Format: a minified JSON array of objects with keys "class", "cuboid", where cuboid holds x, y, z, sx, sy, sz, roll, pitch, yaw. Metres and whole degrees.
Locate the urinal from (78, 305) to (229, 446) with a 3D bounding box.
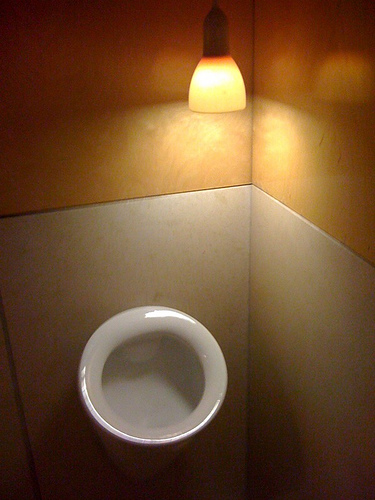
[{"class":"urinal","cuboid":[-0.120,0.439,1.410,0.468,0.403,0.498,-1,13,-14]}]
